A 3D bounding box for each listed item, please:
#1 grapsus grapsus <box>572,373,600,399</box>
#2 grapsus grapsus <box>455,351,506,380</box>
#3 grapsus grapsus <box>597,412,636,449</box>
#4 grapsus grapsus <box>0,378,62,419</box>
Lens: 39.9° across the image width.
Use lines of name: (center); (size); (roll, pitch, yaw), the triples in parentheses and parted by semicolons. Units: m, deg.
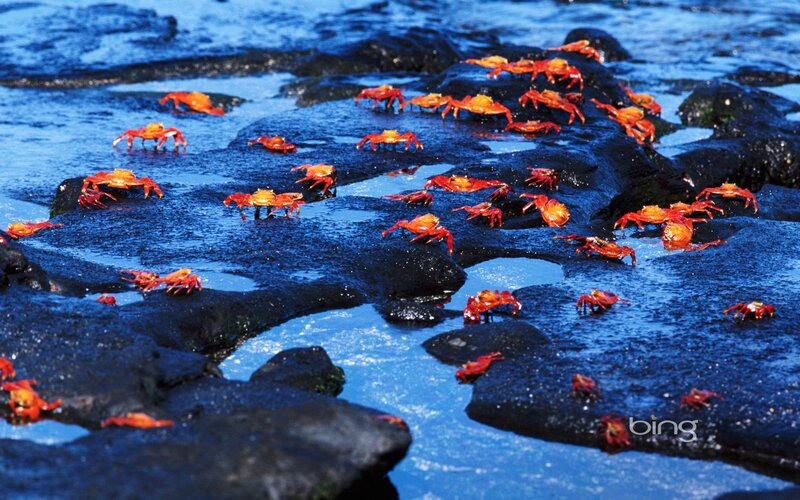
grapsus grapsus: (1.747, 1.276, 10.368); (0.253, 0.173, 0.228); (4, 20, 7)
grapsus grapsus: (0.762, 1.137, 10.727); (0.363, 0.149, 0.276); (-40, 19, -2)
grapsus grapsus: (1.974, 1.683, 10.096); (0.279, 0.279, 0.110); (-22, -9, -15)
grapsus grapsus: (-3.296, 1.348, 9.849); (0.532, 0.286, 0.247); (11, 23, 24)
